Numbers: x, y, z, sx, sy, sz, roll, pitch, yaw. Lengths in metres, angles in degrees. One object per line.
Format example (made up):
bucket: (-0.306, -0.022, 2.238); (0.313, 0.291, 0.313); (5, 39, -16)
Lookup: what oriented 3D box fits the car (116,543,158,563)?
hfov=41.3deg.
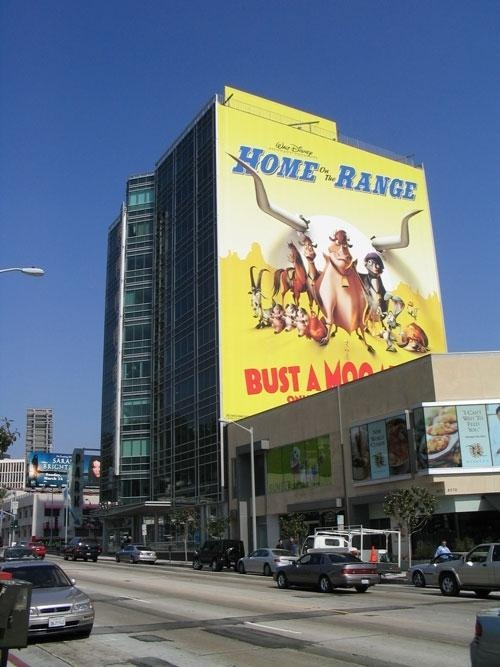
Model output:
car: (-8.766, 17.021, 51.153); (1.691, 1.332, 3.225); (4, -15, -31)
